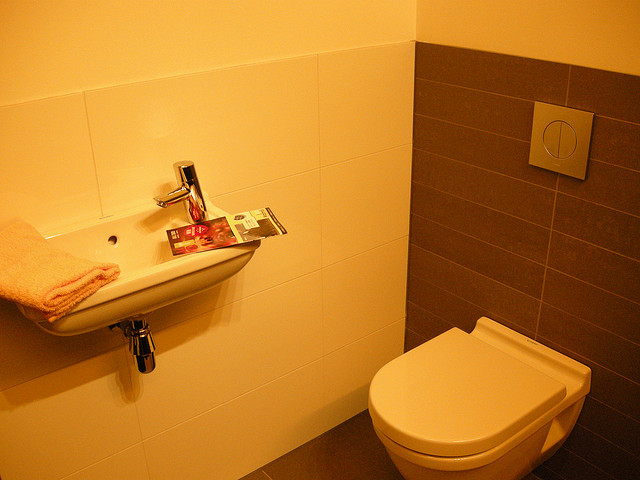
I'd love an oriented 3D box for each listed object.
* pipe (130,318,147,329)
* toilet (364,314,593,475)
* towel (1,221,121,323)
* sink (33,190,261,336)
[{"bbox_3d":[-0.525,0.246,1.381,0.029,0.031,0.027,-1,28,7],"label":"pipe"},{"bbox_3d":[0.559,0.639,1.710,0.723,0.474,0.441,-22,22,-26],"label":"toilet"},{"bbox_3d":[-0.670,0.121,1.194,0.264,0.102,0.214,26,44,29],"label":"towel"},{"bbox_3d":[-0.495,0.059,1.315,0.563,0.259,0.360,-24,35,-32],"label":"sink"}]
